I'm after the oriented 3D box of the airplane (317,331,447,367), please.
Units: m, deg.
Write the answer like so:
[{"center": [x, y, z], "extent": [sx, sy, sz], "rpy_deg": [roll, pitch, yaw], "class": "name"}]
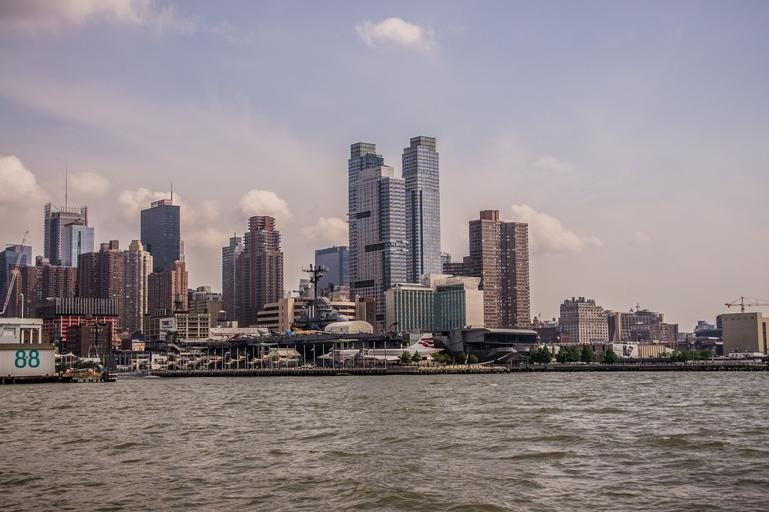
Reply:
[{"center": [-1.150, 22.140, 338.760], "extent": [25.878, 7.096, 15.983], "rpy_deg": [-1, 0, 3], "class": "airplane"}]
